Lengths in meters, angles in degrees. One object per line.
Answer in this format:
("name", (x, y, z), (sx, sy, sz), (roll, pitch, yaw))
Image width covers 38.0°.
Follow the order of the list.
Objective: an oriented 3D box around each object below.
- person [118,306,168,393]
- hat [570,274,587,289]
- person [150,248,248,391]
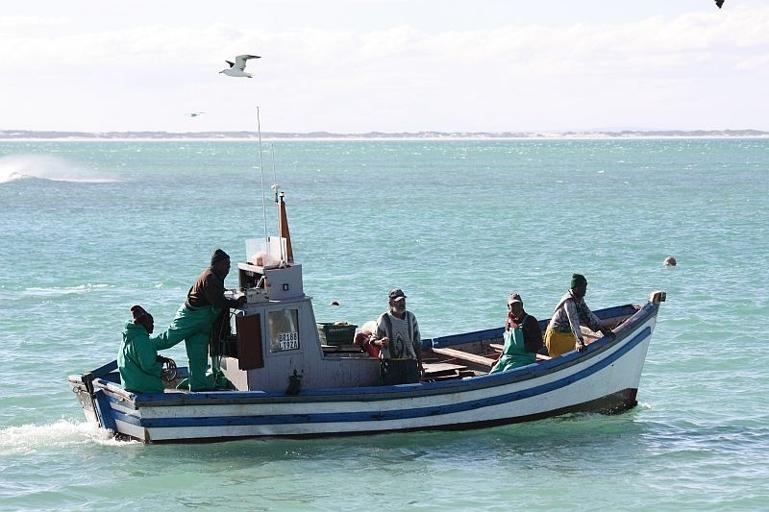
("person", (-5.402, 2.049, 24.416), (0.982, 1.933, 0.759), (-8, 10, -9))
("hat", (4.458, 0.601, 25.983), (0.573, 0.271, 0.337), (4, 15, 24))
("person", (-4.029, 1.446, 24.522), (1.943, 3.207, 0.607), (-7, 11, -3))
